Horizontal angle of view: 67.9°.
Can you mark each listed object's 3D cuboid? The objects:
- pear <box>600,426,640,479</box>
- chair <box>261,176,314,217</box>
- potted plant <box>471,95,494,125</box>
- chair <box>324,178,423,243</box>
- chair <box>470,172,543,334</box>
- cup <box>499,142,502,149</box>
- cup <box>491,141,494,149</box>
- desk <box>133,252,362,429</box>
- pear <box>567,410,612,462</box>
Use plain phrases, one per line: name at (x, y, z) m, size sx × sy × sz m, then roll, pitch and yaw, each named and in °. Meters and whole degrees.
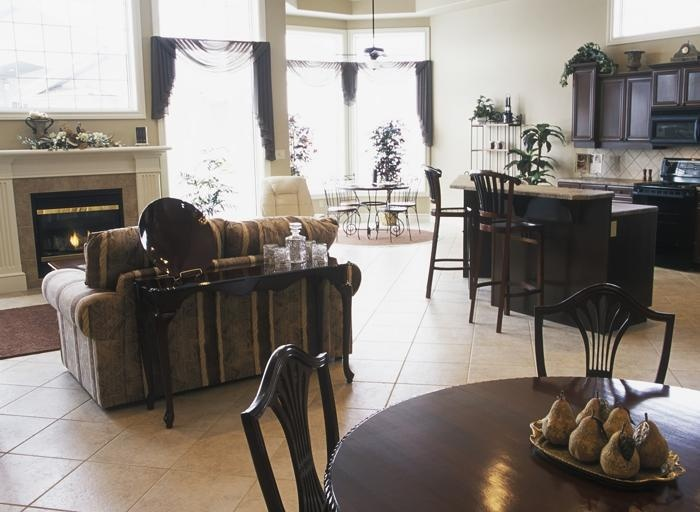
pear at (0.793, 0.558, 1.499) m, size 0.149 × 0.124 × 0.085 m, roll -10°, pitch 13°, yaw -33°
chair at (-0.905, -0.932, 7.829) m, size 0.622 × 0.946 × 0.731 m, roll -2°, pitch 3°, yaw -9°
potted plant at (2.514, -2.756, 9.749) m, size 0.417 × 0.532 × 0.448 m, roll 0°, pitch 11°, yaw 16°
chair at (0.482, -0.976, 10.162) m, size 1.902 × 1.004 × 2.413 m, roll -3°, pitch 11°, yaw 0°
chair at (1.519, -0.124, 5.176) m, size 0.686 × 1.471 × 1.365 m, roll -1°, pitch 11°, yaw 8°
cup at (2.805, -2.060, 9.653) m, size 0.075 × 0.141 × 0.267 m, roll 0°, pitch 11°, yaw 17°
cup at (2.690, -2.084, 9.765) m, size 0.091 × 0.144 × 0.279 m, roll 0°, pitch 11°, yaw 16°
desk at (-0.743, 0.540, 3.395) m, size 0.955 × 0.634 × 0.333 m, roll -10°, pitch 17°, yaw -39°
pear at (0.700, 0.525, 1.554) m, size 0.113 × 0.165 × 0.114 m, roll 2°, pitch 1°, yaw -19°
